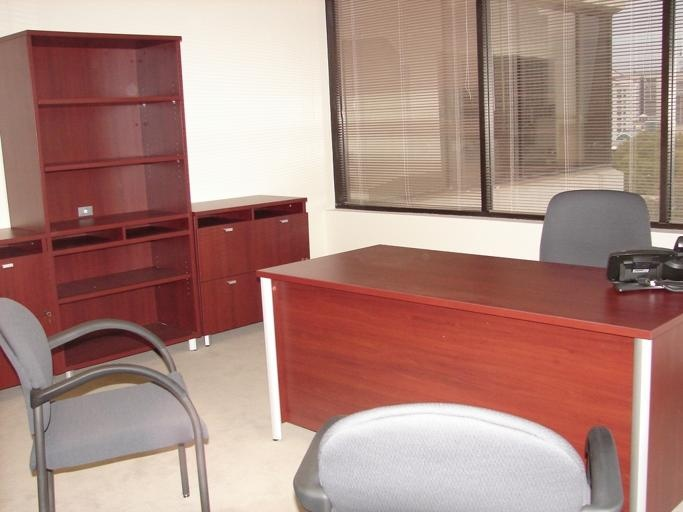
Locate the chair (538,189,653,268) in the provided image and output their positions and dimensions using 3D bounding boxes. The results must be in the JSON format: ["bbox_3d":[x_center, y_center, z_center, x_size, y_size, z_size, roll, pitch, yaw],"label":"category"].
[{"bbox_3d":[1.355,-0.212,3.168,0.526,0.637,0.495,1,10,17],"label":"chair"}]

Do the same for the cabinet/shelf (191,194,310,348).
[{"bbox_3d":[-0.976,0.098,4.836,0.730,1.142,1.320,6,14,35],"label":"cabinet/shelf"}]
